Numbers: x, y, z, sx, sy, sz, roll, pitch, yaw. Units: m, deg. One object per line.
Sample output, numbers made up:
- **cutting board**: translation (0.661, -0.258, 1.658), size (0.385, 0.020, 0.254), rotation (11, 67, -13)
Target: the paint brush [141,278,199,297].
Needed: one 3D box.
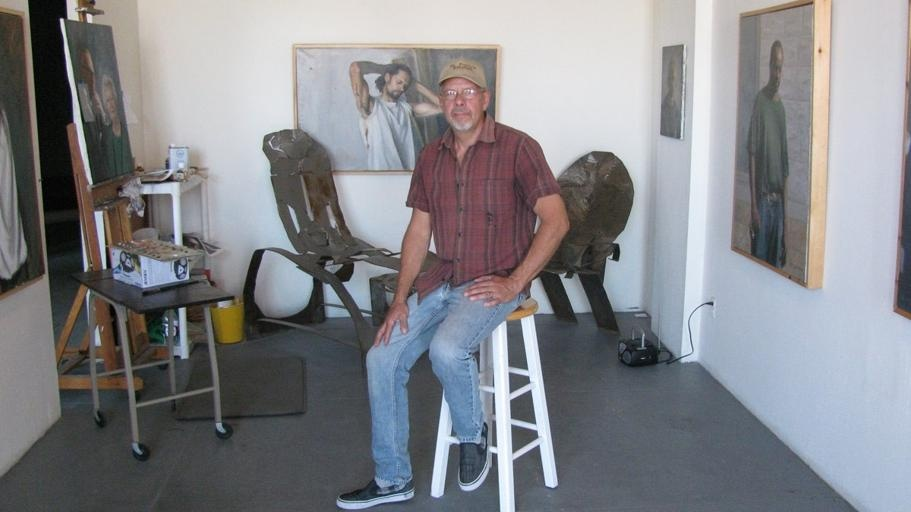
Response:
- **paint brush**: translation (-2.106, 0.254, 4.963), size (0.462, 0.067, 0.115), rotation (-11, 43, -34)

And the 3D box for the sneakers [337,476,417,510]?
- **sneakers**: translation (-0.554, 1.623, 4.471), size (0.575, 0.191, 0.202), rotation (0, 4, -7)

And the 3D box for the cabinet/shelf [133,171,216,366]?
- **cabinet/shelf**: translation (-2.478, 0.136, 5.762), size (0.681, 1.601, 1.768), rotation (-4, 9, -29)

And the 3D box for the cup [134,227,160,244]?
- **cup**: translation (-2.611, -0.182, 5.525), size (0.222, 0.092, 0.211), rotation (2, 8, 0)

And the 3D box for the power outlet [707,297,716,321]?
- **power outlet**: translation (2.256, 0.457, 5.857), size (0.046, 0.130, 0.097), rotation (3, 0, 1)

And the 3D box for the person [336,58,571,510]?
- **person**: translation (0.067, 0.192, 4.402), size (1.334, 2.907, 0.855), rotation (-1, 16, 8)

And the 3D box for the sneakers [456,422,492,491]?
- **sneakers**: translation (0.116, 1.367, 4.371), size (0.197, 0.205, 0.495), rotation (1, 59, 23)

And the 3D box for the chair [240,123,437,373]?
- **chair**: translation (-1.489, -0.258, 6.681), size (2.581, 2.242, 1.617), rotation (24, 29, 39)
